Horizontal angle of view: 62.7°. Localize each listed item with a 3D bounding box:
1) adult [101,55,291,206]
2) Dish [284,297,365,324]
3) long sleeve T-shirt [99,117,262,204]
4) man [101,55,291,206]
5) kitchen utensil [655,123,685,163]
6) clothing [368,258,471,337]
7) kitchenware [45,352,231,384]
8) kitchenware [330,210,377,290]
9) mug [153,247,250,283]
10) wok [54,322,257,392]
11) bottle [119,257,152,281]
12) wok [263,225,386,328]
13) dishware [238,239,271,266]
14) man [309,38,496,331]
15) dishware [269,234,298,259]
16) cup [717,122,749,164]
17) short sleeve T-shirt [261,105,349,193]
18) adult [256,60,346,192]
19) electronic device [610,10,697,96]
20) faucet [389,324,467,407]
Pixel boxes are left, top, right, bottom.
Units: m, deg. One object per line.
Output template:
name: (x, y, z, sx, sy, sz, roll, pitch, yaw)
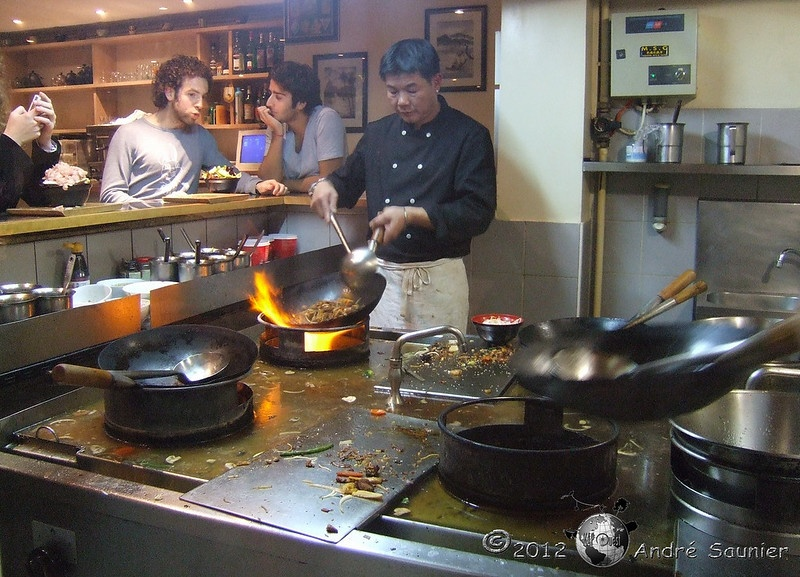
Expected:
adult: (-1.259, -0.905, 4.005, 1.066, 0.976, 0.826, -3, 16, -25)
Dish: (-0.272, 0.067, 2.355, 0.254, 0.051, 0.286, -4, 15, -5)
long sleeve T-shirt: (-1.363, -0.738, 3.980, 0.941, 0.549, 0.469, -3, 6, -35)
man: (-1.420, -0.962, 4.212, 1.189, 1.118, 0.918, 7, 14, 19)
kitchen utensil: (1.434, -0.778, 3.493, 0.129, 0.201, 0.181, 2, 15, 19)
clothing: (0.095, 0.044, 3.312, 0.516, 0.429, 0.346, 1, 2, 25)
kitchenware: (-0.619, 0.205, 1.619, 0.138, 0.068, 0.438, 22, 9, 35)
kitchenware: (-0.185, -0.111, 2.580, 0.156, 0.157, 0.374, 2, 19, -22)
mug: (-0.835, -0.101, 2.739, 0.248, 0.074, 0.160, -6, 10, -36)
wok: (-0.637, 0.181, 1.702, 0.236, 0.068, 0.354, 10, 6, 23)
bottle: (-1.102, -0.085, 2.742, 0.114, 0.108, 0.114, 0, 8, -17)
wok: (-0.266, -0.021, 2.352, 0.294, 0.173, 0.390, 9, 30, 31)
dishware: (-0.722, -0.190, 3.341, 0.153, 0.148, 0.155, 3, 8, 16)
man: (0.006, -0.152, 3.214, 0.802, 1.891, 0.712, 11, 19, 29)
dishware: (-0.638, -0.225, 3.528, 0.142, 0.127, 0.143, -1, 3, -10)
cup: (1.768, -0.770, 3.477, 0.157, 0.208, 0.147, -2, 10, 0)
short sleeve T-shirt: (-0.582, -0.849, 4.000, 0.633, 0.585, 0.390, 3, 17, 43)
adult: (-0.650, -1.002, 4.210, 0.565, 0.783, 0.540, 0, 13, -6)
electronic device: (1.424, -1.280, 3.525, 0.259, 0.442, 0.485, -27, 30, -33)
faucet: (0.090, 0.177, 2.022, 0.221, 0.190, 0.492, -1, 15, 6)
